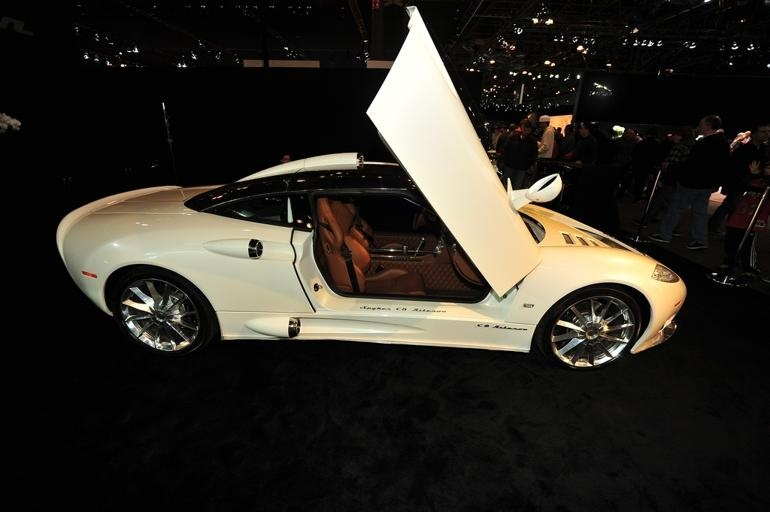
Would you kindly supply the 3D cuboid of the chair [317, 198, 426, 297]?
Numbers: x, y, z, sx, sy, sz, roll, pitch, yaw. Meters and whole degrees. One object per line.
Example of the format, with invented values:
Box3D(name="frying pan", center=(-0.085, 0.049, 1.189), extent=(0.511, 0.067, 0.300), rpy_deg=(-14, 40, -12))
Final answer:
Box3D(name="chair", center=(-0.086, -0.279, 5.605), extent=(1.226, 1.351, 0.833), rpy_deg=(-2, 27, -2))
